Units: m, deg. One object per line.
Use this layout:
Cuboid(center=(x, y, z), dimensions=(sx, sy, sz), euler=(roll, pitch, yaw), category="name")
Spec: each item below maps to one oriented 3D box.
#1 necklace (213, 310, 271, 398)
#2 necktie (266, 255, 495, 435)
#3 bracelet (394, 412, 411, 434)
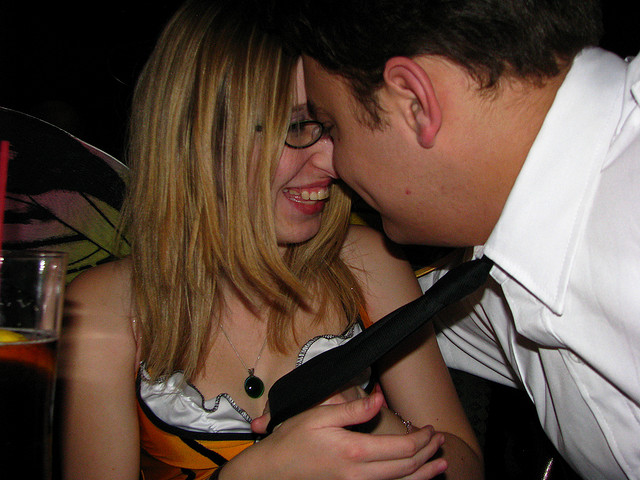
Cuboid(center=(-0.196, 0.340, 1.880), dimensions=(0.170, 0.269, 0.018), euler=(-11, 24, -17), category="necklace")
Cuboid(center=(0.164, 0.313, 1.884), dimensions=(0.090, 0.707, 0.132), euler=(42, 19, -22), category="necktie")
Cuboid(center=(0.233, 0.509, 1.795), dimensions=(0.062, 0.005, 0.018), euler=(55, 39, -6), category="bracelet")
